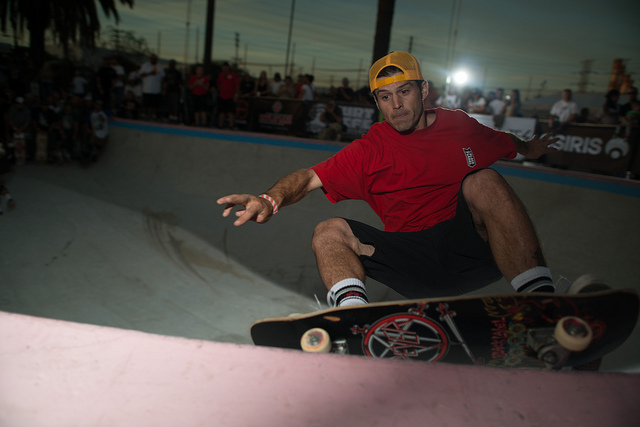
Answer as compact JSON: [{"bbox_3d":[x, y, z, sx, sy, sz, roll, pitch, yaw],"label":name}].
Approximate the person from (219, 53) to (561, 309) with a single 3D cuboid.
[{"bbox_3d":[0.495,-0.173,2.489,1.493,1.364,0.744,6,16,1],"label":"person"}]
